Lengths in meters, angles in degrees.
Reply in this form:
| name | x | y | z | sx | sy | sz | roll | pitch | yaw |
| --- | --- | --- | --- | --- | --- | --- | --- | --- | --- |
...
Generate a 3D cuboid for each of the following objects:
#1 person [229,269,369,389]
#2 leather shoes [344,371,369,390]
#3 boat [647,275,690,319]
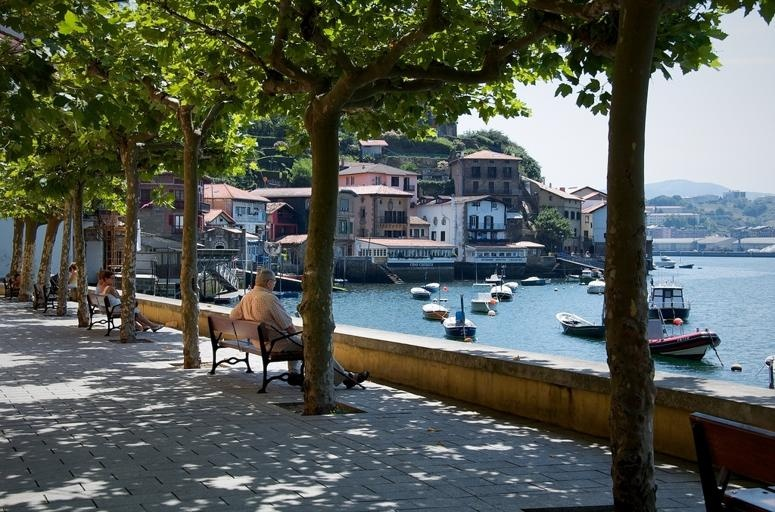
| name | x | y | z | sx | sy | sz | roll | pitch | yaw |
| --- | --- | --- | --- | --- | --- | --- | --- | --- | --- |
| person | -1.507 | 1.129 | 12.008 | 2.062 | 1.293 | 0.999 | 2 | 0 | 1 |
| leather shoes | -0.455 | 1.917 | 12.059 | 0.513 | 0.218 | 0.160 | -13 | 32 | -24 |
| boat | 27.547 | 4.034 | 75.180 | 4.315 | 3.904 | 9.069 | 0 | 5 | 6 |
